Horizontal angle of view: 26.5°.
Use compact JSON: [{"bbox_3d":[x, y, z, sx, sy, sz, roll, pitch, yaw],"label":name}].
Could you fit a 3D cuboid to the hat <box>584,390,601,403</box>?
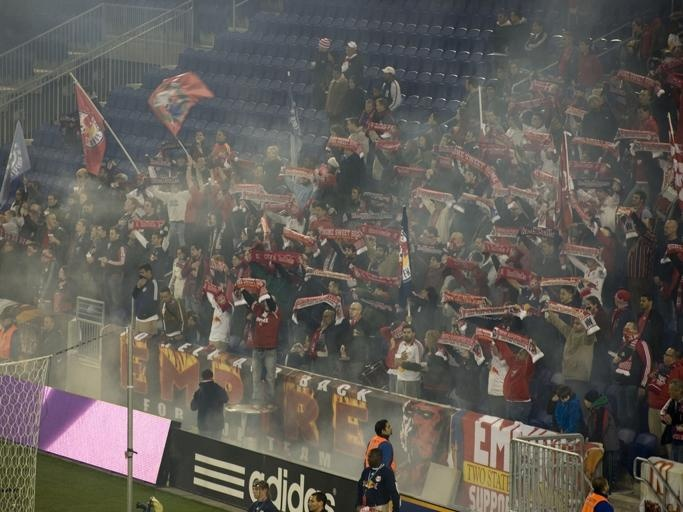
[{"bbox_3d":[3.804,2.122,21.818,0.188,0.175,0.150,-23,-1,-3],"label":"hat"}]
